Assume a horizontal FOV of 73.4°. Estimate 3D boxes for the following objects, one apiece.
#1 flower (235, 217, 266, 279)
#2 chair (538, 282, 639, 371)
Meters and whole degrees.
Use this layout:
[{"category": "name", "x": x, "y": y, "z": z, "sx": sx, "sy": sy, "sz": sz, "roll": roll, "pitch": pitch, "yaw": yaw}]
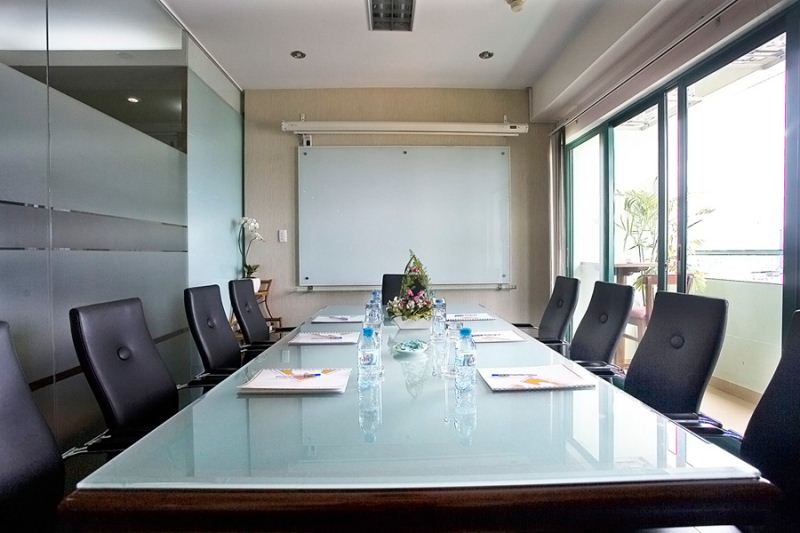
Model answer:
[{"category": "flower", "x": -1.724, "y": -0.212, "z": 6.140, "sx": 0.290, "sy": 0.693, "sz": 0.424, "roll": -2, "pitch": 11, "yaw": -9}, {"category": "chair", "x": 1.501, "y": 0.415, "z": 3.993, "sx": 0.573, "sy": 0.864, "sz": 0.538, "roll": 12, "pitch": -2, "yaw": -19}]
